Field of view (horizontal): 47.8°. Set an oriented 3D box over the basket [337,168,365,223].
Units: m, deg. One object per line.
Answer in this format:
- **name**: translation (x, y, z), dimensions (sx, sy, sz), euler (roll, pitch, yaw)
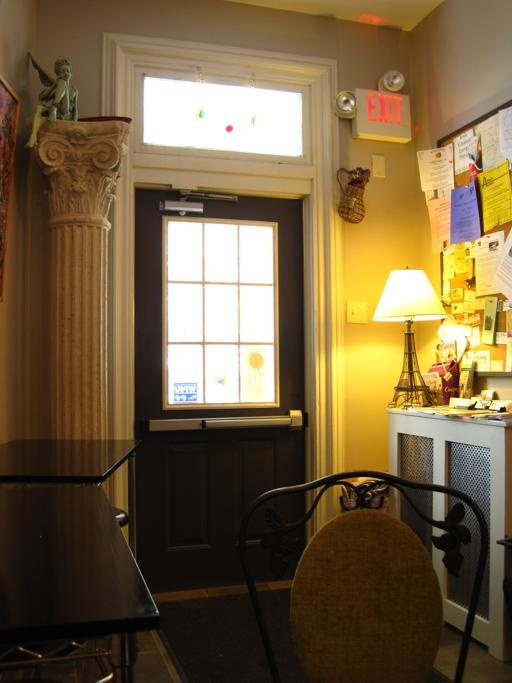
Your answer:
- **basket**: translation (0.482, -0.752, 2.924), dimensions (0.144, 0.301, 0.223), euler (-1, -4, 8)
